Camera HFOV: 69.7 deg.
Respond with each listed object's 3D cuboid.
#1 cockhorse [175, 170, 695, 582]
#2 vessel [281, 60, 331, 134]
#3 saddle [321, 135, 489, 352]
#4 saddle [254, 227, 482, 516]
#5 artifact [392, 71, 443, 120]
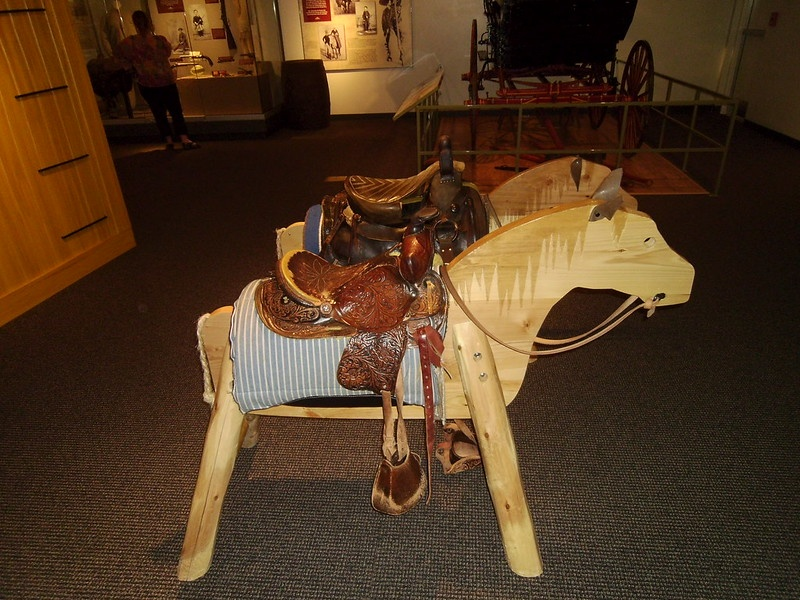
[{"bbox_3d":[0.211,0.415,2.520,1.615,1.499,0.729,-1,21,0],"label":"cockhorse"},{"bbox_3d":[-1.376,-3.079,8.549,0.621,1.004,0.910,9,22,28],"label":"vessel"},{"bbox_3d":[-0.007,-0.416,2.734,0.836,0.610,0.622,-2,20,12],"label":"saddle"},{"bbox_3d":[-0.076,0.037,2.315,0.672,1.149,0.323,9,55,25],"label":"saddle"},{"bbox_3d":[0.118,-1.131,3.268,0.216,0.274,0.772,2,34,5],"label":"artifact"}]
